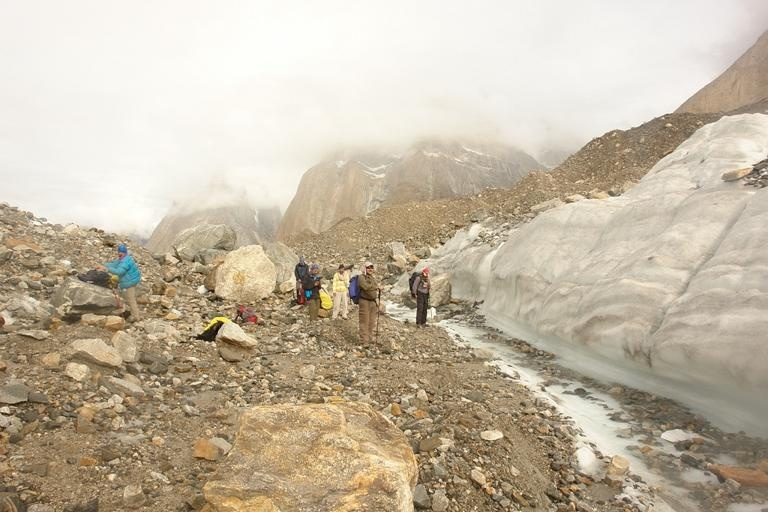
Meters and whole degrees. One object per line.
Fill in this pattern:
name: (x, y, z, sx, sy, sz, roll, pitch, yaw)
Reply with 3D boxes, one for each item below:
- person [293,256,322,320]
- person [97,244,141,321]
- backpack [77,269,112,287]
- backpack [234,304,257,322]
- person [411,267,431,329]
person: (-2.533, 1.087, 14.800, 0.665, 1.888, 1.459, 3, 10, -33)
person: (-6.891, 0.656, 11.512, 0.888, 2.050, 0.703, 10, 9, 7)
backpack: (-8.069, 0.606, 11.971, 0.855, 0.340, 0.686, 0, -6, 43)
backpack: (-4.261, 1.856, 13.426, 0.510, 0.282, 0.614, 5, -20, -6)
person: (1.481, 1.597, 17.439, 0.863, 2.365, 0.768, 10, 9, 4)
